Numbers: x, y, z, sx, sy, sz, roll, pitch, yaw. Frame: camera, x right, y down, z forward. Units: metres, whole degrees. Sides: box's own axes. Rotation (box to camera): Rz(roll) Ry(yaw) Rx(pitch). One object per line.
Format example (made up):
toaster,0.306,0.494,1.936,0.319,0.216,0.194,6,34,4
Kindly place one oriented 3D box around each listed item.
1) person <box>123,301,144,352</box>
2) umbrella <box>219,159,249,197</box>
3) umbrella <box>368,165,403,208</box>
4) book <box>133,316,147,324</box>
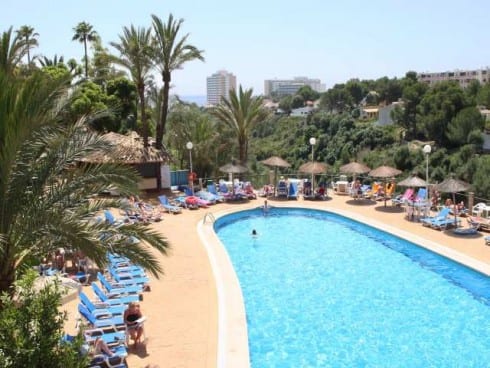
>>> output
person,-2.881,3.615,12.630,0.531,1.114,0.540,0,12,-4
umbrella,-0.641,-0.603,27.983,1.607,2.421,1.920,1,37,0
umbrella,7.145,0.104,25.064,1.887,2.801,2.058,5,14,24
book,-2.718,3.497,12.583,0.365,0.103,0.378,-5,9,-8
